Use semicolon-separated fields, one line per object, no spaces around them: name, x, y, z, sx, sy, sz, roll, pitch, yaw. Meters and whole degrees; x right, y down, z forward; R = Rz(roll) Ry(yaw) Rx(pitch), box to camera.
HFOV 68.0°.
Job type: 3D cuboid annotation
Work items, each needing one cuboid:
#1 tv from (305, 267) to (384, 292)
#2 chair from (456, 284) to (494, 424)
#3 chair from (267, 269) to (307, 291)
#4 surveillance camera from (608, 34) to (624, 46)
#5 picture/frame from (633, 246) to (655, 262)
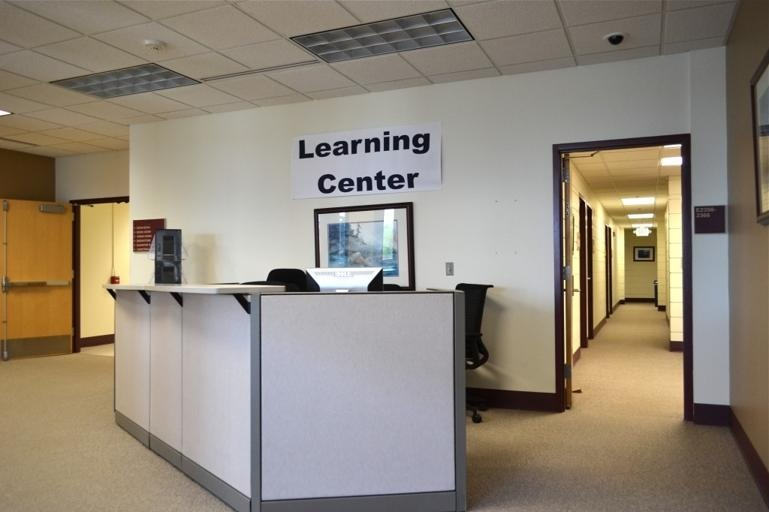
tv;-0.374;0.210;5.051;0.682;0.199;0.111;1;7;10
chair;1.032;1.108;6.624;0.417;1.506;0.805;1;7;11
chair;-1.176;0.299;6.857;0.380;0.361;0.319;2;-16;-11
surveillance camera;2.448;-2.302;6.040;0.155;0.074;0.221;2;8;23
picture/frame;10.111;-0.071;22.138;0.597;0.511;0.048;3;-16;34
